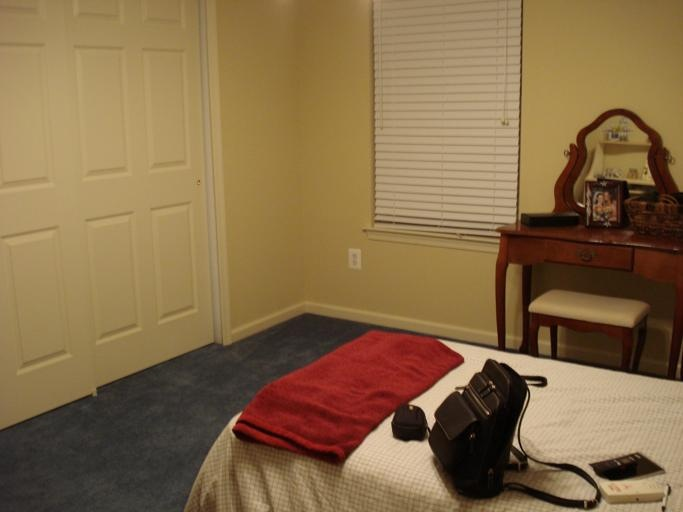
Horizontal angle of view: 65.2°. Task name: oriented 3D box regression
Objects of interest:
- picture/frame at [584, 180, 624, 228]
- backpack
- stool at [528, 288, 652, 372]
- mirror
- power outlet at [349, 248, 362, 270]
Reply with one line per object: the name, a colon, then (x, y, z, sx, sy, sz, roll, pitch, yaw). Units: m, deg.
picture/frame: (1.491, -0.299, 3.032, 0.240, 0.365, 0.047, 1, 1, 25)
backpack: (0.510, 0.507, 1.727, 0.429, 0.378, 0.327, 14, 12, 3)
stool: (1.424, 0.464, 3.121, 0.549, 0.525, 0.343, 8, 21, 41)
mirror: (1.612, -0.559, 3.113, 0.612, 0.712, 0.067, 1, -2, 38)
power outlet: (0.110, 0.005, 4.098, 0.134, 0.205, 0.020, 5, 12, 27)
